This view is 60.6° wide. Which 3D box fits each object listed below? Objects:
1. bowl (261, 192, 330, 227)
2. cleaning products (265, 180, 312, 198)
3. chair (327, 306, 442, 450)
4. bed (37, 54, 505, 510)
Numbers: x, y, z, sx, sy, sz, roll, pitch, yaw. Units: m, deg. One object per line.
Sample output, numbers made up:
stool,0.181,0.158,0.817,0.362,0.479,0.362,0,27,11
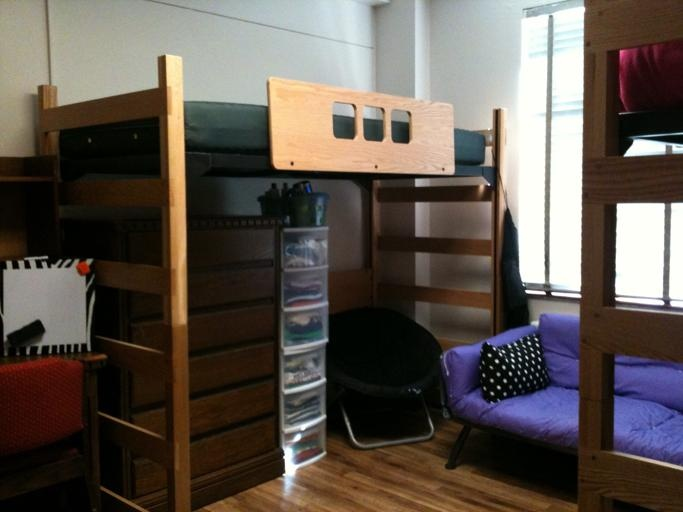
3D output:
bowl,-0.295,-0.269,3.463,0.328,0.156,0.211,0,4,16
cleaning products,-0.307,-0.394,3.505,0.235,0.089,0.132,0,3,29
chair,0.282,0.798,4.023,0.675,0.532,0.842,0,6,-21
bed,-0.375,0.183,3.177,1.038,2.159,2.716,0,2,38
